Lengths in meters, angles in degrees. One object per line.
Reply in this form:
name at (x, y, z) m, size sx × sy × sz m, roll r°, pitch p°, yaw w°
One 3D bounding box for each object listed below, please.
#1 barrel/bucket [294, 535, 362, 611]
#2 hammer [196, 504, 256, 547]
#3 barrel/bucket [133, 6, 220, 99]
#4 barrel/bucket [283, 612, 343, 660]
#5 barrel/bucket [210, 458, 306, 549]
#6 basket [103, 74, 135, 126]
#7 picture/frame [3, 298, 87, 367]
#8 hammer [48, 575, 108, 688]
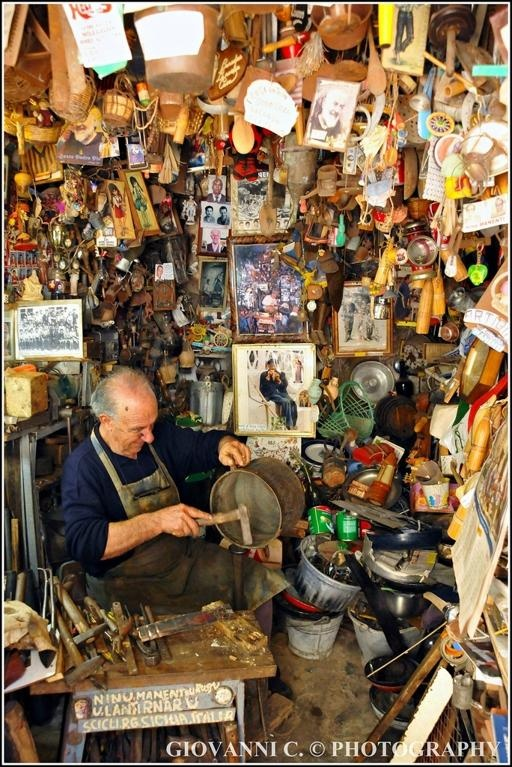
barrel/bucket at (0.413, 1.181, 3.203) m, size 0.327 × 0.433 × 0.522 m, roll 7°, pitch 0°, yaw 0°
hammer at (-0.136, 0.570, 2.145) m, size 0.235 × 0.143 × 0.069 m, roll -12°, pitch 15°, yaw -27°
barrel/bucket at (-0.225, -1.011, 1.686) m, size 0.265 × 0.203 × 0.261 m, roll -2°, pitch -1°, yaw 0°
barrel/bucket at (0.354, 1.526, 3.268) m, size 0.330 × 0.275 × 0.336 m, roll 1°, pitch 6°, yaw 0°
barrel/bucket at (0.041, 0.524, 2.327) m, size 0.342 × 0.454 × 0.329 m, roll -5°, pitch 11°, yaw 1°
basket at (-0.692, -1.439, 2.675) m, size 0.152 × 0.257 × 0.213 m, roll 7°, pitch 0°, yaw -19°
picture/frame at (-1.379, -0.326, 3.416) m, size 0.462 × 0.353 × 0.017 m, roll 0°, pitch 0°, yaw 3°
hammer at (-0.649, 0.897, 1.869) m, size 0.156 × 0.140 × 0.464 m, roll 15°, pitch 9°, yaw -27°
